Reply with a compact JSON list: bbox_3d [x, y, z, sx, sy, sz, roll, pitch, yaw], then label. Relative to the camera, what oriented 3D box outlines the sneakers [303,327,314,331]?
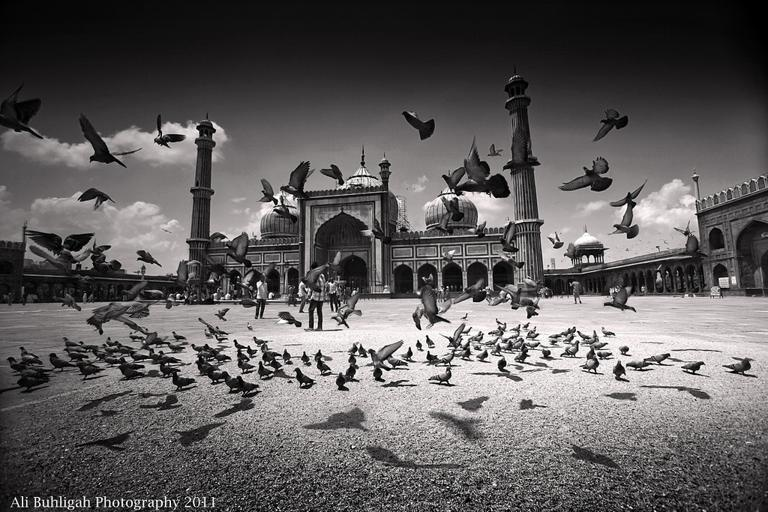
[{"bbox_3d":[-1.532,1.431,9.998,0.247,0.111,0.091,0,-10,18],"label":"sneakers"}]

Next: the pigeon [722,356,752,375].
[{"bbox_3d":[4.116,1.265,5.820,0.168,0.224,0.319,-6,-1,-24],"label":"pigeon"}]
